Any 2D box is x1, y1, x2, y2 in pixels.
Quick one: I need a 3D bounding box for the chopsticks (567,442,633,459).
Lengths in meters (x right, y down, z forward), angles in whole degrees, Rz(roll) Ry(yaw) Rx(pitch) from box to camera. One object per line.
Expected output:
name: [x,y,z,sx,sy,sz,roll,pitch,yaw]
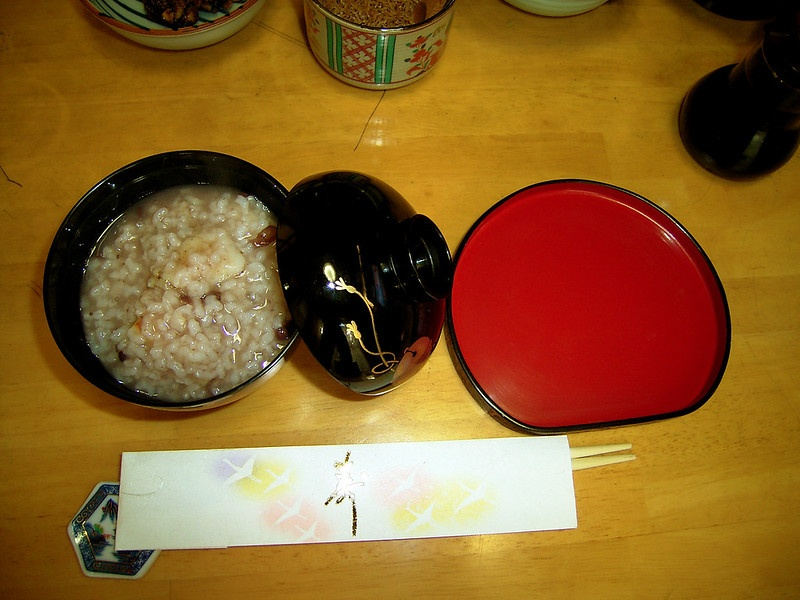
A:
chopsticks: [0.453,0.345,1.539,0.205,0.027,0.034,-2,81,-6]
